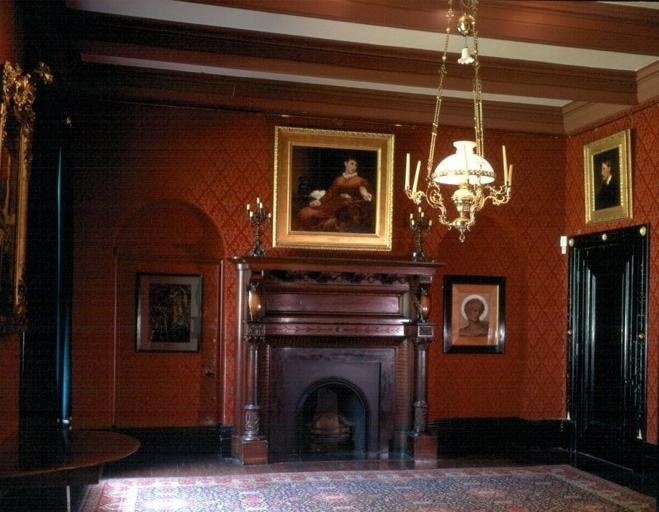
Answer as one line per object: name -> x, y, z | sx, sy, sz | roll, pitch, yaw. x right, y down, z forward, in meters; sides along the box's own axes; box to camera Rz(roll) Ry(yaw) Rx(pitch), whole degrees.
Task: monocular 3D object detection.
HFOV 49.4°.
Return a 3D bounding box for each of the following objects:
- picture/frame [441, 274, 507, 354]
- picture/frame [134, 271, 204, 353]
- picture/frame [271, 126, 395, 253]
picture/frame -> 2.042, 0.869, 10.351 | 1.079, 1.374, 0.094 | 0, -2, -6
picture/frame -> -2.200, 0.779, 9.625 | 1.051, 1.276, 0.053 | 0, -1, -10
picture/frame -> -0.035, -0.867, 9.561 | 1.566, 1.636, 0.121 | 3, 0, -10
